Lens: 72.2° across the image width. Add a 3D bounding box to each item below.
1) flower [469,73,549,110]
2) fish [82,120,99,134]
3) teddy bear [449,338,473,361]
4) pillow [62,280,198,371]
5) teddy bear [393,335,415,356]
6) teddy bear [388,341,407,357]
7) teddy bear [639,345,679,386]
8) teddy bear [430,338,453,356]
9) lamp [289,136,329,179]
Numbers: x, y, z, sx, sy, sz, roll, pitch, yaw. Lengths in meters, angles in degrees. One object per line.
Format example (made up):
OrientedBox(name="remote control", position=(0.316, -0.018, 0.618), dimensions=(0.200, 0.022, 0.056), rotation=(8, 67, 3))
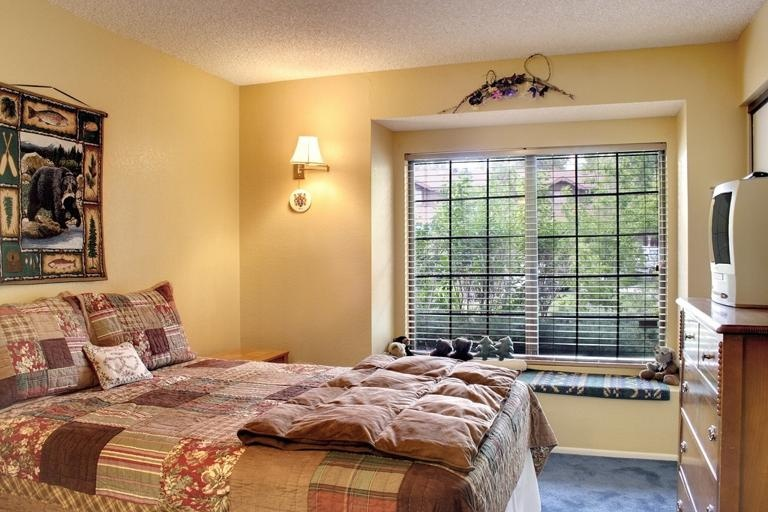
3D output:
OrientedBox(name="flower", position=(1.147, -1.506, 4.752), dimensions=(0.493, 0.285, 0.138), rotation=(13, 8, 6))
OrientedBox(name="fish", position=(-2.245, -0.993, 4.032), dimensions=(0.002, 0.082, 0.119), rotation=(3, 4, 34))
OrientedBox(name="teddy bear", position=(0.744, 0.896, 5.044), dimensions=(0.245, 0.222, 0.127), rotation=(1, 2, 25))
OrientedBox(name="pillow", position=(-2.095, 0.360, 4.011), dimensions=(0.771, 0.218, 0.718), rotation=(29, 21, 33))
OrientedBox(name="teddy bear", position=(0.222, 0.913, 5.381), dimensions=(0.197, 0.188, 0.072), rotation=(-1, 3, -24))
OrientedBox(name="teddy bear", position=(0.133, 0.918, 5.217), dimensions=(0.152, 0.146, 0.120), rotation=(14, -7, 8))
OrientedBox(name="teddy bear", position=(2.538, 0.981, 4.776), dimensions=(0.337, 0.325, 0.359), rotation=(-1, 0, -38))
OrientedBox(name="teddy bear", position=(0.583, 0.905, 5.200), dimensions=(0.181, 0.163, 0.168), rotation=(3, 39, 24))
OrientedBox(name="lamp", position=(-0.728, -0.961, 5.095), dimensions=(0.383, 0.403, 0.324), rotation=(0, 3, 1))
